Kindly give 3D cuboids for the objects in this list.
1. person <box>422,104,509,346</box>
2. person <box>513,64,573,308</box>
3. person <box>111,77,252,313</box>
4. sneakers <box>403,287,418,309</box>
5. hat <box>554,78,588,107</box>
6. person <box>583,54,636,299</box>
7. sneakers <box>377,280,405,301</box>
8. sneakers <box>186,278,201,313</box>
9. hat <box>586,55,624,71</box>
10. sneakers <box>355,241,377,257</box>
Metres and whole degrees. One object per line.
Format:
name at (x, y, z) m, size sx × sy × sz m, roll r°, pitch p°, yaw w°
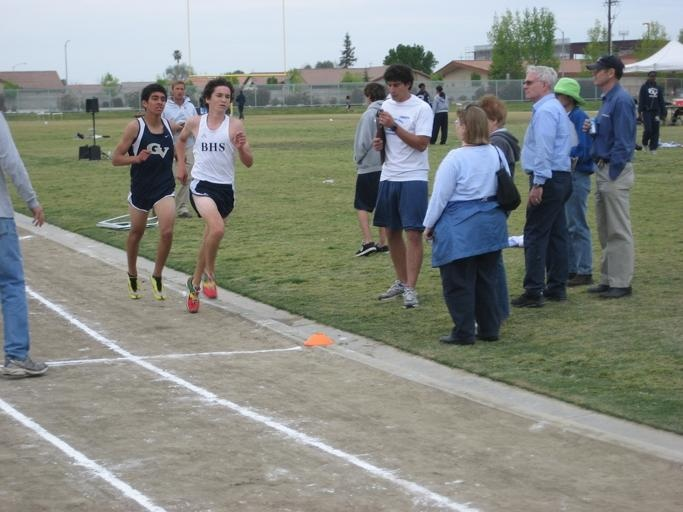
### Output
person at (1.165, -0.277, 8.197) m, size 0.704 × 2.099 × 0.564 m, roll -6°, pitch 16°, yaw -15°
person at (2.055, -0.692, 9.226) m, size 0.552 × 2.397 × 0.696 m, roll 2°, pitch 15°, yaw 13°
person at (-1.635, -0.651, 9.420) m, size 1.218 × 2.333 × 1.009 m, roll 10°, pitch 19°, yaw 36°
sneakers at (0.703, 0.421, 9.253) m, size 0.143 × 0.211 × 0.176 m, roll 0°, pitch 14°, yaw 4°
hat at (2.448, -1.777, 9.718) m, size 0.369 × 0.179 × 0.384 m, roll 16°, pitch 10°, yaw 26°
person at (2.793, -0.817, 9.416) m, size 0.571 × 2.452 × 0.887 m, roll 3°, pitch 16°, yaw 16°
sneakers at (0.462, 0.374, 9.524) m, size 0.409 × 0.145 × 0.131 m, roll -2°, pitch 4°, yaw -42°
sneakers at (-1.500, 0.403, 9.266) m, size 0.136 × 0.320 × 0.146 m, roll -1°, pitch -11°, yaw -43°
hat at (2.742, -1.982, 9.380) m, size 0.332 × 0.132 × 0.190 m, roll 1°, pitch 15°, yaw 9°
sneakers at (0.262, -0.069, 11.617) m, size 0.334 × 0.133 × 0.127 m, roll -8°, pitch -2°, yaw 41°
